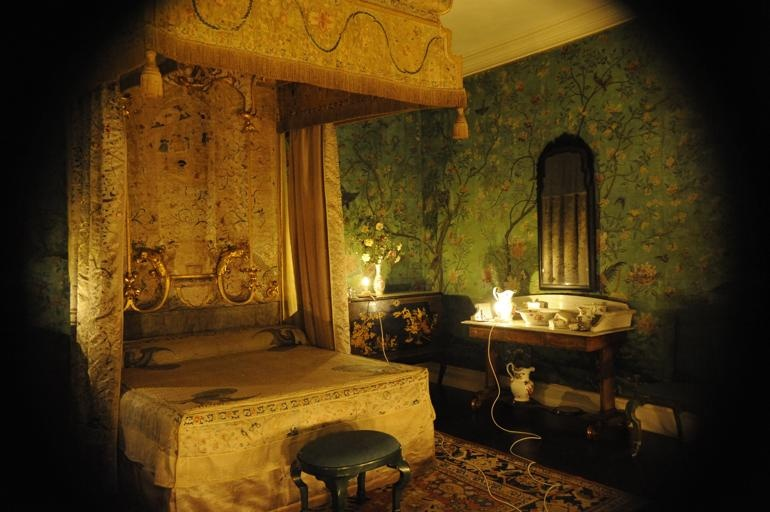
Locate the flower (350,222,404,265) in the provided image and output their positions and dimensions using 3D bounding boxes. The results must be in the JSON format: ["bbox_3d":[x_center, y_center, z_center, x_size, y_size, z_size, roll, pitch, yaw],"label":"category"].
[{"bbox_3d":[-0.095,-0.101,7.610,0.619,0.512,0.520,-2,-12,16],"label":"flower"}]

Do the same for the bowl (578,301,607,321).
[{"bbox_3d":[2.043,0.537,5.778,0.254,0.128,0.243,-1,11,0],"label":"bowl"}]

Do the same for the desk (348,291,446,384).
[{"bbox_3d":[-0.055,0.859,7.350,1.301,0.790,0.719,-2,4,-27],"label":"desk"}]

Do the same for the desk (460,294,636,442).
[{"bbox_3d":[1.756,1.130,6.399,0.919,1.394,1.753,3,-4,-34],"label":"desk"}]

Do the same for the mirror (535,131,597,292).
[{"bbox_3d":[1.966,-0.457,6.441,0.076,1.746,0.806,-1,-1,-35],"label":"mirror"}]
